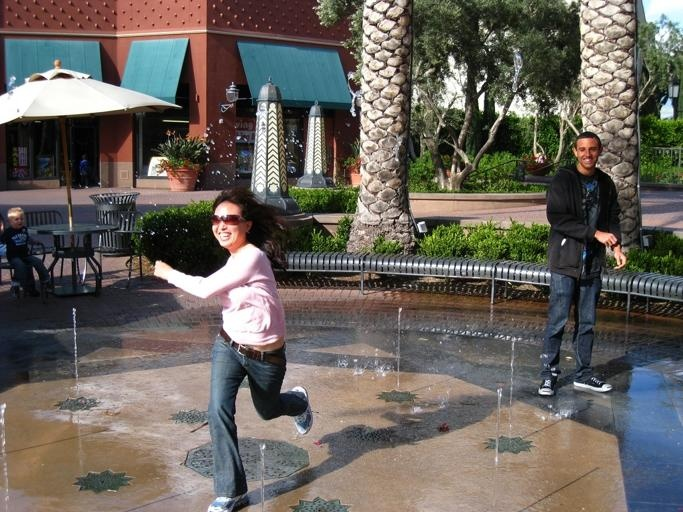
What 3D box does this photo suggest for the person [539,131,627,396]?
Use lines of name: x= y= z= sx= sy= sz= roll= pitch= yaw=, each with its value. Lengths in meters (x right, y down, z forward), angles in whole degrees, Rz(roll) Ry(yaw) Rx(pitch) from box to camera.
person: x=2.145 y=0.067 z=5.763 sx=0.679 sy=2.278 sz=0.750 roll=4 pitch=10 yaw=18

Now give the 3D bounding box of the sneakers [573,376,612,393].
sneakers: x=2.250 y=1.149 z=5.891 sx=0.356 sy=0.132 sz=0.135 roll=-1 pitch=7 yaw=28

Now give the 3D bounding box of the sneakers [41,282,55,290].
sneakers: x=-4.071 y=0.416 z=9.009 sx=0.207 sy=0.116 sz=0.117 roll=-7 pitch=-11 yaw=43

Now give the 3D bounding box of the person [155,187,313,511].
person: x=-0.601 y=0.544 z=4.111 sx=0.502 sy=1.898 sz=0.897 roll=6 pitch=11 yaw=29

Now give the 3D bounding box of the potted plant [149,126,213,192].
potted plant: x=-6.328 y=-3.714 z=26.217 sx=2.273 sy=2.563 sz=2.177 roll=1 pitch=3 yaw=-4
